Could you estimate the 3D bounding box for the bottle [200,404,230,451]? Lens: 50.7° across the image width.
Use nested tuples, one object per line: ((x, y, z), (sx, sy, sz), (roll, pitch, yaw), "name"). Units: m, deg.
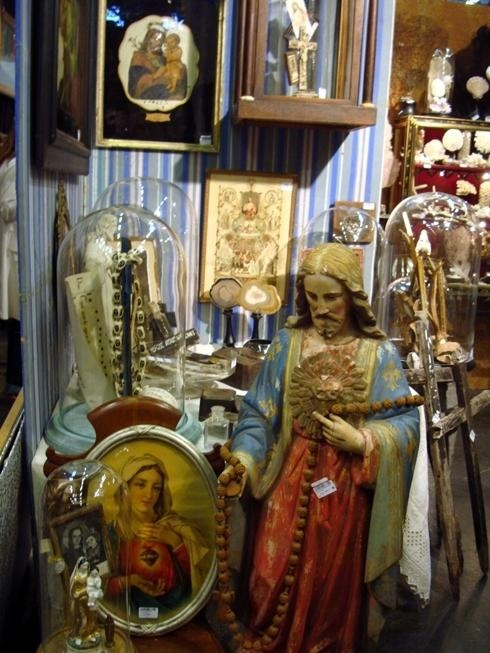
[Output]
((-0.105, 0.359, 1.833), (0.120, 0.235, 0.122), (1, -7, 0), "bottle")
